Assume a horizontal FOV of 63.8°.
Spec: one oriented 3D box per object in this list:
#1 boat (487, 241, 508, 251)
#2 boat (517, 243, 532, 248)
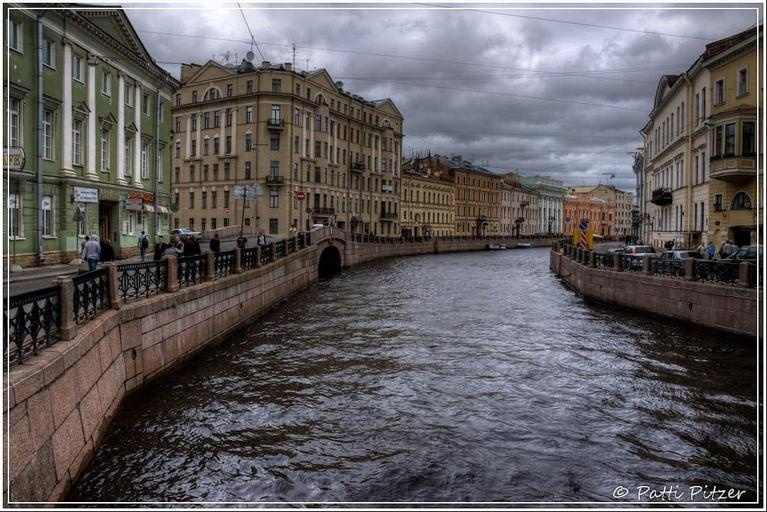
[{"bbox_3d":[15.470,-1.321,84.798,2.097,0.870,1.387,1,6,5],"label":"boat"},{"bbox_3d":[21.187,-1.529,92.729,0.910,0.843,3.170,4,4,38],"label":"boat"}]
